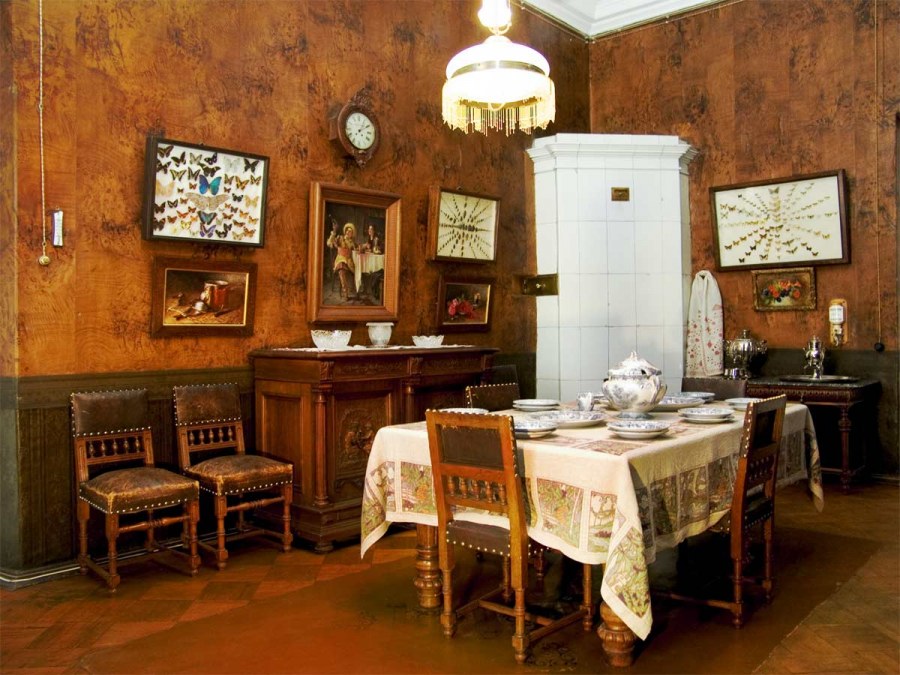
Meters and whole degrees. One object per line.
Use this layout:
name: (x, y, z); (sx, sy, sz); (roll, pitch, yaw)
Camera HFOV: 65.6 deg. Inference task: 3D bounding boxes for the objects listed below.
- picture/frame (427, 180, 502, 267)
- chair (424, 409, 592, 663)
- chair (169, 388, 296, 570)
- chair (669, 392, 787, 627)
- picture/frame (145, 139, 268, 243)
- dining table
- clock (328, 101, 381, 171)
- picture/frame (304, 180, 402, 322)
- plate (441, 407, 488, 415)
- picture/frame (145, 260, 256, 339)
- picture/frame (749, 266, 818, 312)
picture/frame: (0.167, -1.180, 7.402); (0.180, 0.737, 0.997); (4, 6, 41)
chair: (0.346, 0.924, 4.165); (0.835, 1.472, 0.735); (5, 2, 31)
chair: (-1.661, 0.987, 5.495); (0.782, 1.430, 0.682); (-1, -1, 43)
chair: (1.725, 1.049, 4.578); (0.827, 1.404, 0.887); (0, -1, -35)
picture/frame: (-1.918, -1.140, 5.571); (0.948, 0.744, 0.118); (-2, 13, -44)
dining table: (0.911, 0.894, 4.254); (1.721, 1.322, 2.377); (-1, -1, 44)
clock: (-0.855, -1.858, 6.418); (0.144, 0.518, 0.483); (4, 6, 44)
picture/frame: (-0.925, -0.796, 6.406); (1.263, 1.662, 0.165); (3, -3, -44)
plate: (0.106, 0.462, 4.433); (0.158, 0.033, 0.163); (-4, -4, 33)
picture/frame: (-1.960, -0.329, 5.604); (0.825, 0.610, 0.050); (-4, 6, -37)
picture/frame: (3.737, -0.539, 7.742); (0.716, 0.515, 0.085); (3, 1, 45)
